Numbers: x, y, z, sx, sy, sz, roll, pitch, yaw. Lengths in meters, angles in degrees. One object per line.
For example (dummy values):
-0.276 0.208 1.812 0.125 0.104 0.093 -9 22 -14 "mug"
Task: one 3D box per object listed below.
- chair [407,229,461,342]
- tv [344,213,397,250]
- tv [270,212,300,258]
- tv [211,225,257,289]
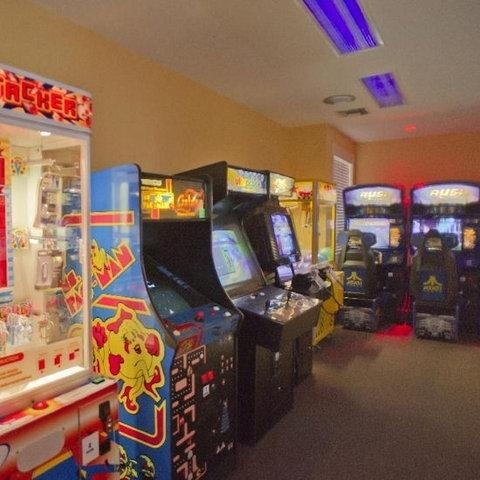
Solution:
2.308 0.480 4.599 0.509 1.355 0.502 -1 18 27 "chair"
1.870 0.004 5.488 0.649 0.508 0.369 -1 -27 15 "tv"
0.370 -0.034 3.253 0.170 0.383 0.346 -18 -12 20 "tv"
-0.064 0.115 2.664 0.088 0.357 0.357 -13 -5 25 "tv"
